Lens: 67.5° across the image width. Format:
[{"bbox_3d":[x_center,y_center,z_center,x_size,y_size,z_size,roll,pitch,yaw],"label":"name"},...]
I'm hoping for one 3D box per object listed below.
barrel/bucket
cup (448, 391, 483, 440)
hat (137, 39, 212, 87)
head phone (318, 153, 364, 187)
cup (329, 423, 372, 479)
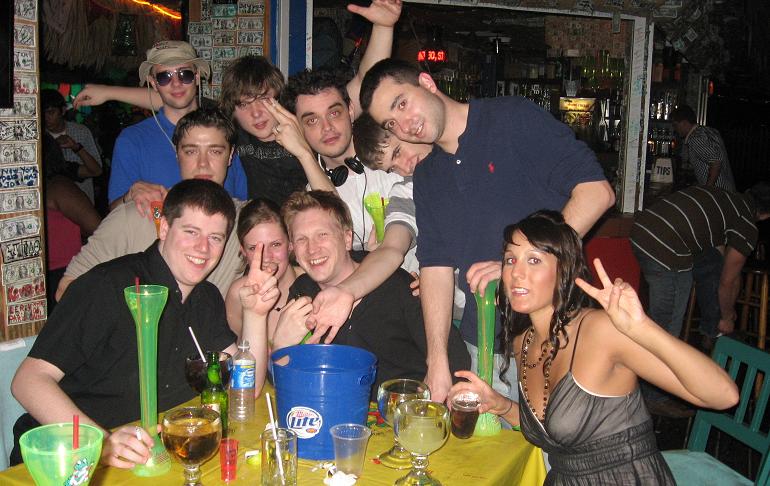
[{"bbox_3d":[-0.317,0.714,2.922,0.517,0.438,0.568,1,0,0],"label":"barrel/bucket"},{"bbox_3d":[0.386,0.872,2.997,0.198,0.220,0.193,3,6,0],"label":"cup"},{"bbox_3d":[-1.893,-1.571,5.060,0.597,0.269,0.616,-9,-4,-36],"label":"hat"},{"bbox_3d":[-0.322,-0.552,4.419,0.261,0.099,0.265,-16,31,2],"label":"head phone"},{"bbox_3d":[-0.168,0.985,2.733,0.177,0.236,0.137,0,8,-9],"label":"cup"}]
